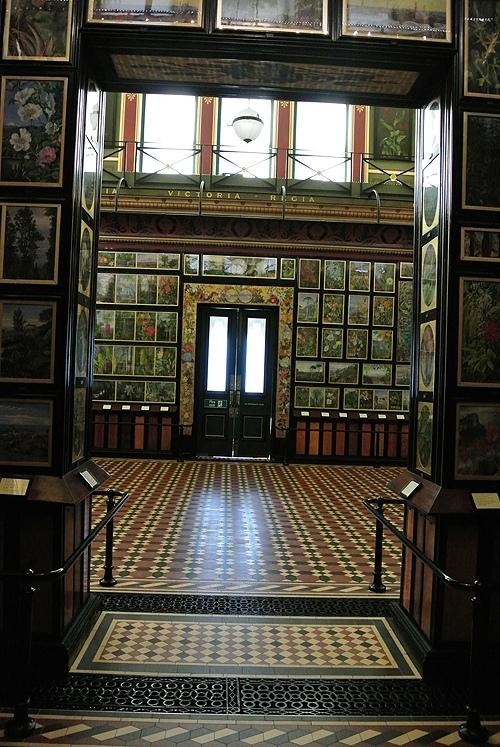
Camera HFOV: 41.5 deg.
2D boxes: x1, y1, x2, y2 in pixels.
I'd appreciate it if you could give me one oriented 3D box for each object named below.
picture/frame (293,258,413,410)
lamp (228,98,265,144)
[{"bbox_3d":[1.623,-0.629,11.241,2.421,3.302,0.136,1,1,-2],"label":"picture/frame"},{"bbox_3d":[-0.029,-3.451,9.092,0.484,0.741,0.499,0,-3,4],"label":"lamp"}]
